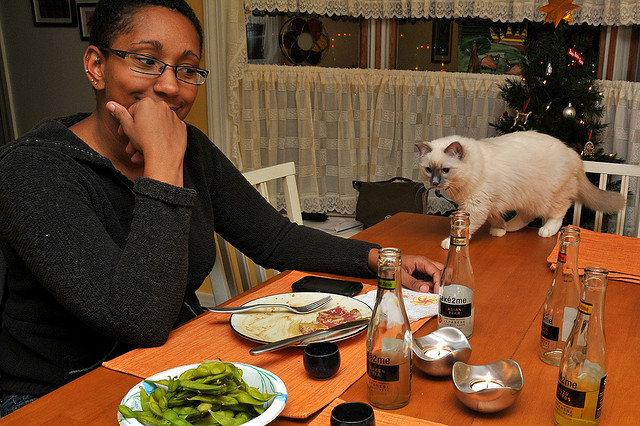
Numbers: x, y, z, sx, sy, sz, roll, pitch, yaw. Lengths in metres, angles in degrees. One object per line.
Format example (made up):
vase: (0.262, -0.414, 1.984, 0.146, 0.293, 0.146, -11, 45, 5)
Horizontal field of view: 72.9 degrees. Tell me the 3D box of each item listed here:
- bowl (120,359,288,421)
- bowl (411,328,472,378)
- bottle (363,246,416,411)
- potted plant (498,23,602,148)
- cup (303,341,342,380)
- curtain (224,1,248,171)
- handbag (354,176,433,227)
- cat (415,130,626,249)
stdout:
bowl: (-0.211, 0.338, 0.787, 0.172, 0.068, 0.179, -2, 4, 0)
bowl: (0.259, 0.309, 0.949, 0.124, 0.069, 0.123, -14, 5, 1)
bottle: (0.147, 0.209, 0.903, 0.114, 0.328, 0.206, -2, 13, 5)
potted plant: (1.394, -0.759, 2.594, 0.528, 0.714, 0.411, 5, 15, 31)
cup: (0.008, 0.330, 0.950, 0.079, 0.061, 0.078, -6, 5, 1)
curtain: (-0.574, -0.875, 3.022, 0.181, 1.140, 0.097, -6, 13, -13)
handbag: (0.518, -0.082, 3.146, 0.387, 0.421, 0.145, -3, -2, 19)
cat: (0.886, -0.125, 1.838, 0.889, 0.442, 0.219, -6, 7, -8)
